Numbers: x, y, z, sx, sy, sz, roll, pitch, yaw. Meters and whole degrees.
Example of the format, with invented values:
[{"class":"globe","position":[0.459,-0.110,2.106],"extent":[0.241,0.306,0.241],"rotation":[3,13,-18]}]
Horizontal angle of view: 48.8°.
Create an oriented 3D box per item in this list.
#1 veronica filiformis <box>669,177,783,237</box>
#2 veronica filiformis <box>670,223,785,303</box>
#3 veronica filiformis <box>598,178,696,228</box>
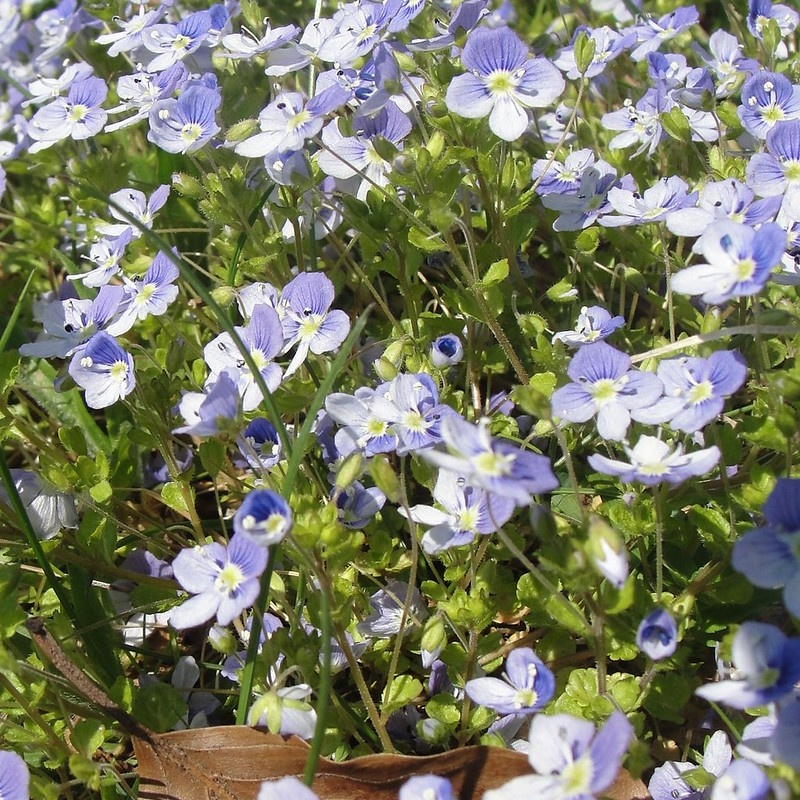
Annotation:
[{"class":"veronica filiformis","position":[0.715,-0.418,1.906],"extent":[0.173,0.176,0.063],"rotation":[-7,86,-3]},{"class":"veronica filiformis","position":[0.607,-0.252,1.546],"extent":[0.132,0.141,0.072],"rotation":[-14,52,32]},{"class":"veronica filiformis","position":[0.609,-0.470,2.078],"extent":[0.152,0.172,0.058],"rotation":[11,90,10]}]
